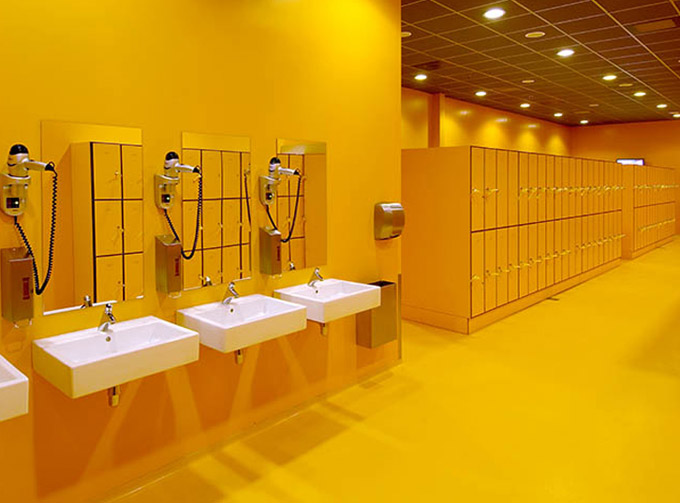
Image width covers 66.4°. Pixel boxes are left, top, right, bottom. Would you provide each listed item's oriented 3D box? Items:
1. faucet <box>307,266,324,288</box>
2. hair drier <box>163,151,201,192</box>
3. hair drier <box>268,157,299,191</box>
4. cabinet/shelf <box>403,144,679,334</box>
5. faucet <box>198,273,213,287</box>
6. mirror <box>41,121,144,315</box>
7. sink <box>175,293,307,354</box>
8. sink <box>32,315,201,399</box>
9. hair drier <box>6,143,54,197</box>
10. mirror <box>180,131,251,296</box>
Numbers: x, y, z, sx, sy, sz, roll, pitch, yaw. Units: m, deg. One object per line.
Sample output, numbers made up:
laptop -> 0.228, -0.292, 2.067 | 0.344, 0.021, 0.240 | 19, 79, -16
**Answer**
faucet -> -0.191, 0.210, 4.141 | 0.139, 0.202, 0.126 | 2, 2, 33
hair drier -> -0.996, -0.522, 3.273 | 0.261, 0.191, 0.085 | 16, 26, 19
hair drier -> -0.399, -0.570, 3.828 | 0.204, 0.255, 0.153 | 2, -5, 19
cabinet/shelf -> 3.269, -0.479, 7.743 | 6.044, 2.185, 1.002 | -10, 15, -40
faucet -> -0.913, 0.199, 3.535 | 0.081, 0.084, 0.047 | -5, 10, -23
mirror -> -1.435, -0.220, 3.033 | 0.601, 1.056, 0.194 | -6, 12, -28
sink -> -0.666, 0.452, 3.377 | 0.467, 0.166, 0.539 | 5, 8, 38
sink -> -1.253, 0.558, 2.929 | 0.784, 0.192, 0.502 | -10, 15, -39
hair drier -> -1.639, -0.472, 2.775 | 0.255, 0.218, 0.171 | -1, 11, -8
mirror -> -0.836, -0.286, 3.543 | 0.563, 1.025, 0.070 | -9, 14, -40
